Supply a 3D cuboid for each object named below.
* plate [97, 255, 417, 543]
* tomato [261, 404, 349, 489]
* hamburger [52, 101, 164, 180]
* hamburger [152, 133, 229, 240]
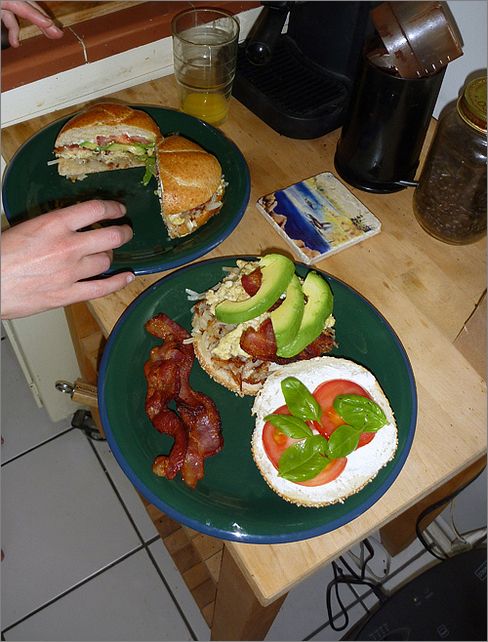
[{"bbox_3d":[0.017,0.092,0.786,0.469,0.079,0.443,11,49,5],"label":"plate"},{"bbox_3d":[0.073,0.168,0.711,0.121,0.047,0.075,37,56,24],"label":"tomato"},{"bbox_3d":[-0.291,-0.384,1.147,0.219,0.125,0.127,-4,34,-9],"label":"hamburger"},{"bbox_3d":[-0.114,-0.295,1.056,0.147,0.075,0.230,-14,55,-10],"label":"hamburger"}]
